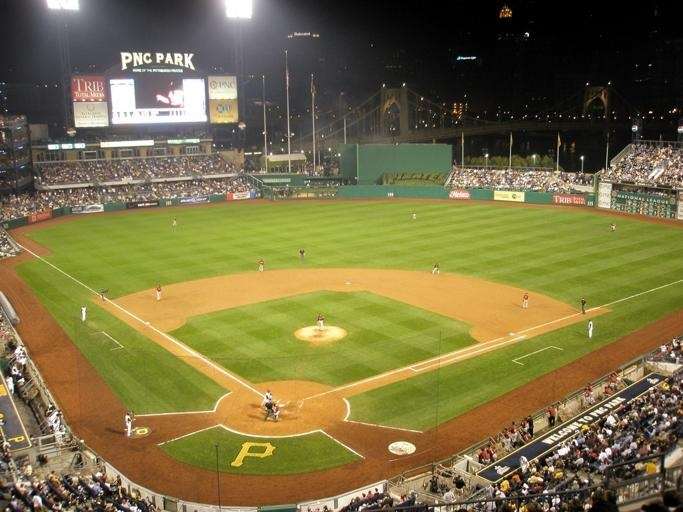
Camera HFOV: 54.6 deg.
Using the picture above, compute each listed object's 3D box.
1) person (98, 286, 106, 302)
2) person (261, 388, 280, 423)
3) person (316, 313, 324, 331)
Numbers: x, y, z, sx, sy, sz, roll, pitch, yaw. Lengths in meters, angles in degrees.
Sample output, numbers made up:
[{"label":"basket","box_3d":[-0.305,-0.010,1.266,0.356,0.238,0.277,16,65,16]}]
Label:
[{"label":"person","box_3d":[-18.511,2.972,51.250,0.751,0.308,1.157,-5,26,-23]},{"label":"person","box_3d":[-3.625,7.951,35.345,0.884,1.025,1.664,-7,26,-26]},{"label":"person","box_3d":[-1.369,4.375,43.948,0.384,1.011,0.839,-3,14,-4]}]
